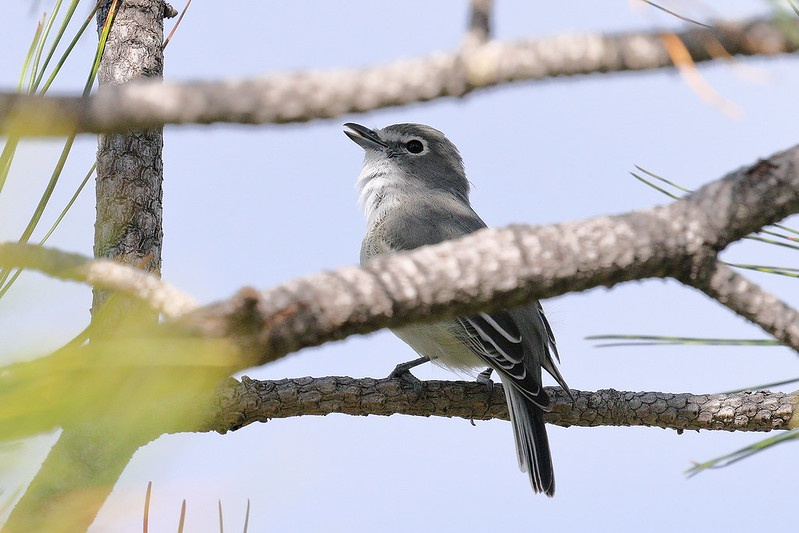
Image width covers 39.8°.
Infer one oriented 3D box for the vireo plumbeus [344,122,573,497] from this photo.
[{"bbox_3d":[0.271,0.430,7.272,1.190,2.631,1.752,2,11,12],"label":"vireo plumbeus"}]
